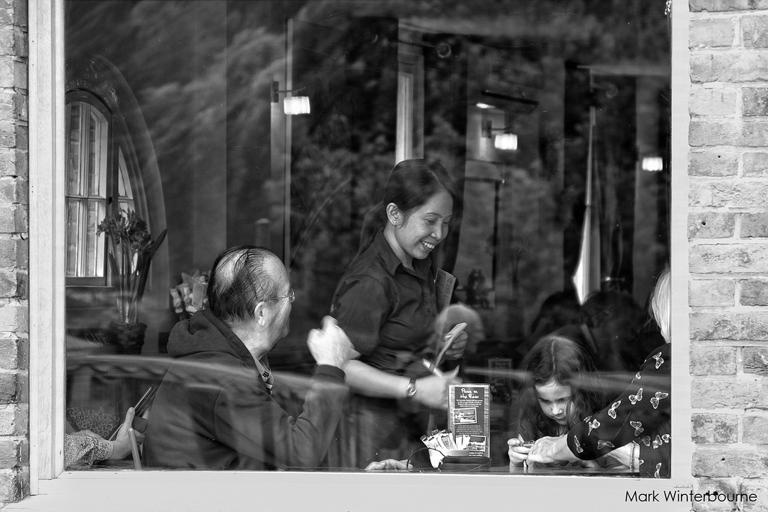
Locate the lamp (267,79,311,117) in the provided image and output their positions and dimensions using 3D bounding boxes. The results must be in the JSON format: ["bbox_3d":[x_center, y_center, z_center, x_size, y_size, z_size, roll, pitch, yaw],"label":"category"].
[{"bbox_3d":[-0.610,-1.019,7.363,0.303,0.233,0.163,0,-1,3],"label":"lamp"}]

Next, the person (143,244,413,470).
[{"bbox_3d":[-0.456,0.464,4.854,0.588,0.913,0.667,-12,26,-27],"label":"person"}]

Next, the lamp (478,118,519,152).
[{"bbox_3d":[0.808,-0.851,7.923,0.248,0.185,0.139,11,18,21],"label":"lamp"}]

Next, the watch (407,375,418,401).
[{"bbox_3d":[0.122,0.584,4.992,0.076,0.067,0.071,6,26,3],"label":"watch"}]
